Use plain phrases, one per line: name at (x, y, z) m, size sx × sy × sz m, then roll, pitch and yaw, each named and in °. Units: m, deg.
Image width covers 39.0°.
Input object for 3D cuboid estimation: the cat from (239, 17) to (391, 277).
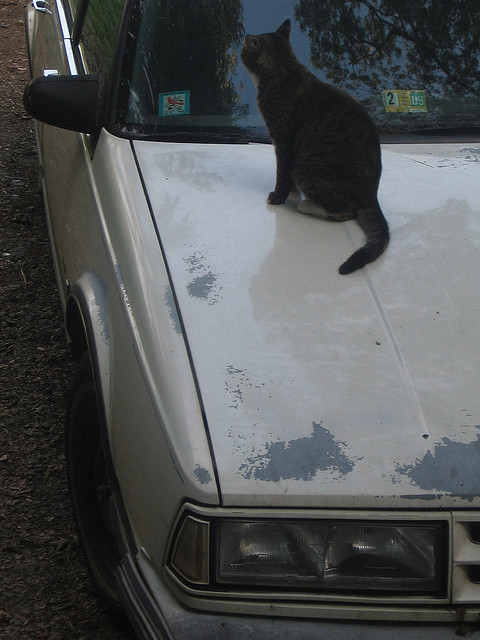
cat at (0.228, -0.536, 2.086) m, size 0.346 × 0.481 × 0.853 m, roll -19°, pitch 44°, yaw -27°
